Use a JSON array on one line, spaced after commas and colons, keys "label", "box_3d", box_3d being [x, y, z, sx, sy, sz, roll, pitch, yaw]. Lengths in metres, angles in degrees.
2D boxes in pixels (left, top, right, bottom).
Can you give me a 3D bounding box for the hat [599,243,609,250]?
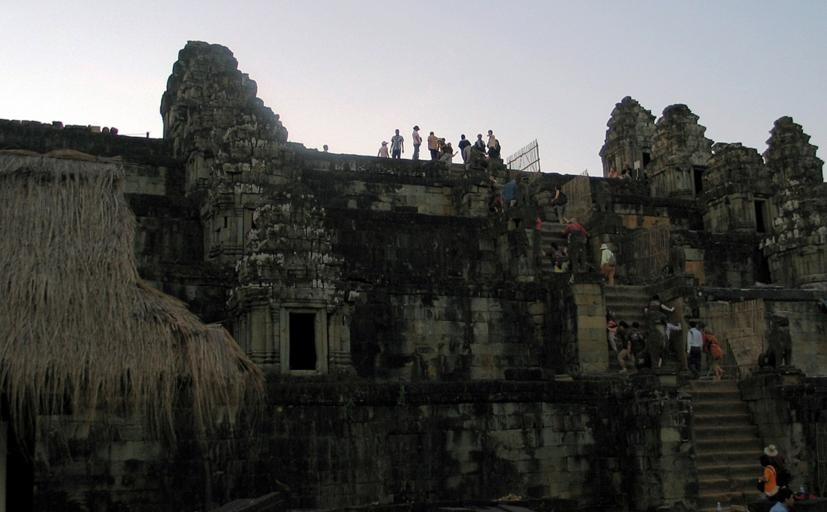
[{"label": "hat", "box_3d": [5.889, -0.292, 34.074, 0.256, 0.124, 0.248, -5, 3, -6]}]
